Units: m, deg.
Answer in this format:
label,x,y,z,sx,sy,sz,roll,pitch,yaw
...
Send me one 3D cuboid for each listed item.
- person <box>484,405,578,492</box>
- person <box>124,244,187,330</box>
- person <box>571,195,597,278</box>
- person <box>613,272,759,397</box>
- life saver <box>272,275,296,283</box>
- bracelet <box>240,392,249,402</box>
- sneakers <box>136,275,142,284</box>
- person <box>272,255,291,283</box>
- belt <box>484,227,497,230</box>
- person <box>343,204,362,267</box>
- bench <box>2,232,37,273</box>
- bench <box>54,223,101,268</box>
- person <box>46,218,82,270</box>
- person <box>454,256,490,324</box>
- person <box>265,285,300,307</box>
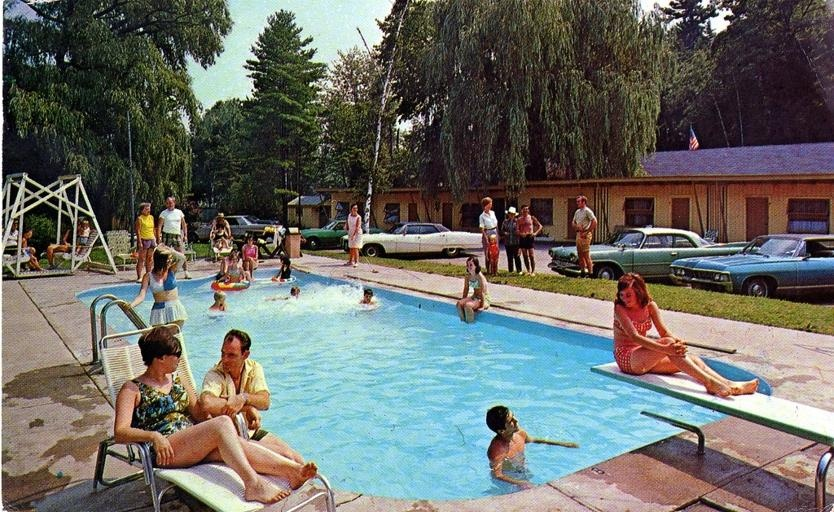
label,x,y,z,sx,sy,sz,roll,pitch,yaw
person,1.648,2.819,9.488,1.147,1.046,0.610,-5,6,-19
person,-4.956,0.590,11.968,0.772,1.485,0.314,-5,6,-21
person,4.973,-0.535,18.240,0.617,2.397,0.948,-1,5,14
person,3.953,1.184,9.410,0.684,1.631,2.381,-3,2,-24
life saver,-4.326,0.756,19.921,0.725,0.205,0.574,-4,5,-13
bracelet,-2.447,2.005,8.762,0.073,0.103,0.037,2,-7,-10
sneakers,-8.254,0.704,18.332,0.195,0.213,0.462,0,-3,-30
person,-4.401,0.414,20.155,0.683,0.972,0.810,0,4,-14
belt,2.310,-0.827,19.077,0.402,0.101,0.151,-6,6,-30
person,-2.289,-0.741,22.291,0.548,2.145,1.506,-3,5,-7
bench,-13.367,-0.141,20.828,0.984,1.335,3.087,-6,6,-32
bench,-12.215,-0.405,22.010,1.463,1.803,4.364,-6,6,-30
person,-12.683,-0.358,22.021,0.878,1.899,0.636,4,-16,-21
person,1.337,0.794,14.934,0.773,1.500,0.832,-2,5,5
person,-3.778,1.107,17.592,0.860,0.344,0.919,-1,6,24
